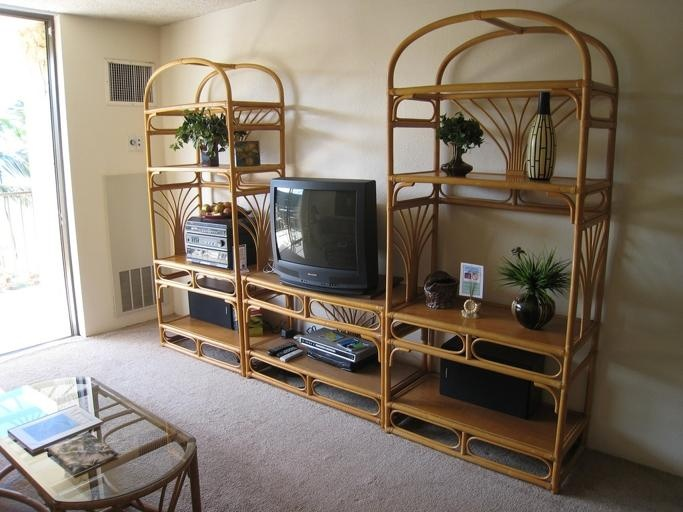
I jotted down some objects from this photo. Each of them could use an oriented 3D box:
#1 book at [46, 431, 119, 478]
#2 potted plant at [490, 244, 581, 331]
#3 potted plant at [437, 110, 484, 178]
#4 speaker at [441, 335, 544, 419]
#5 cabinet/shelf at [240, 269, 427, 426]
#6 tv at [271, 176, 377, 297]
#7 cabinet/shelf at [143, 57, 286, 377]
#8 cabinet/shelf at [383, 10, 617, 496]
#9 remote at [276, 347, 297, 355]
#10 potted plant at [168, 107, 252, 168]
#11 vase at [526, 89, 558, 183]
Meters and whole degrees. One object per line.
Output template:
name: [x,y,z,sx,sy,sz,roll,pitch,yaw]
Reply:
book: [-1.244,0.950,2.524,0.195,0.031,0.145,20,25,39]
potted plant: [0.991,0.196,2.843,0.343,0.341,0.301,3,11,40]
potted plant: [0.665,-0.639,3.042,0.249,0.324,0.271,2,14,-20]
speaker: [0.856,0.680,2.945,0.459,0.279,0.245,14,13,29]
cabinet/shelf: [-0.141,0.546,3.728,1.169,0.659,0.473,5,11,31]
tv: [-0.048,-0.154,3.585,0.831,0.735,0.508,8,15,36]
cabinet/shelf: [-0.926,-0.211,4.294,1.238,2.387,0.592,32,38,26]
cabinet/shelf: [0.809,-0.087,2.984,1.236,2.460,0.683,8,16,30]
remote: [-0.396,0.675,3.766,0.045,0.015,0.136,13,17,28]
potted plant: [-0.966,-0.892,3.990,0.546,0.433,0.554,1,13,4]
vase: [1.000,-0.603,2.671,0.130,0.443,0.168,2,14,9]
